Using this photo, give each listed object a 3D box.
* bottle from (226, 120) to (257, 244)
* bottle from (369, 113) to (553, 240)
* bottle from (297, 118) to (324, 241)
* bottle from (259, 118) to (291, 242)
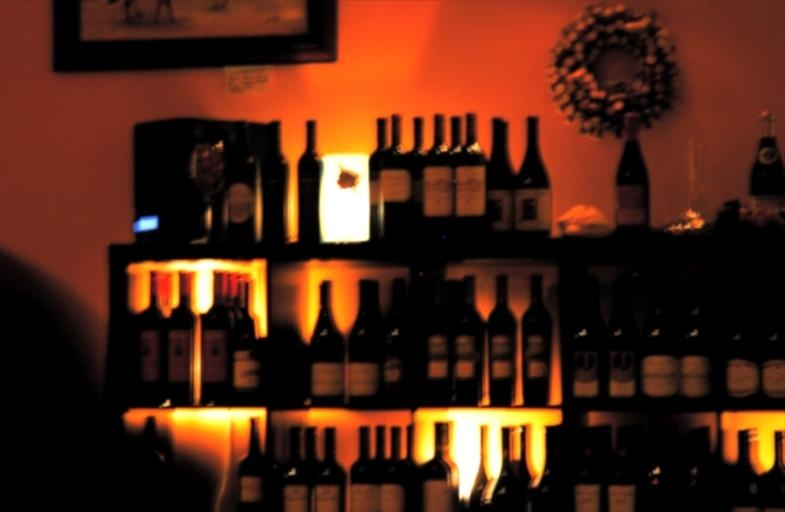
[{"bbox_3d":[-0.621,-0.406,7.118,0.128,0.326,0.118,-1,-38,-1],"label":"bottle"},{"bbox_3d":[0.269,-0.297,6.989,0.582,0.360,0.113,0,-5,-10],"label":"bottle"},{"bbox_3d":[-0.332,-0.291,7.062,0.099,0.504,0.307,1,-5,-2],"label":"bottle"},{"bbox_3d":[-0.474,-0.293,7.084,0.115,0.523,0.325,1,-5,-4],"label":"bottle"}]
